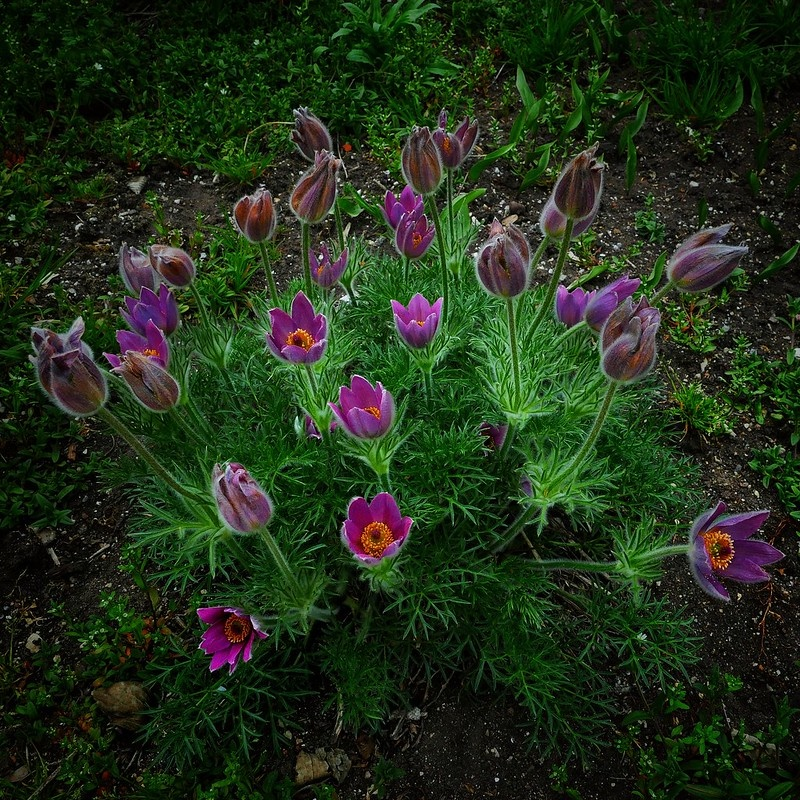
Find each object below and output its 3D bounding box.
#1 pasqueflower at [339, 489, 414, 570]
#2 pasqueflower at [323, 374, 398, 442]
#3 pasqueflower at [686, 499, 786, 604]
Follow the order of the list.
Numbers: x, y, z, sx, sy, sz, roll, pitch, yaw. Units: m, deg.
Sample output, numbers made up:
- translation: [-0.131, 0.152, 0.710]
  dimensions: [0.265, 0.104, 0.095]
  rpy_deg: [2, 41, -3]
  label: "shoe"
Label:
- translation: [-0.062, 0.401, 2.118]
  dimensions: [0.197, 0.268, 0.188]
  rpy_deg: [-28, 58, -17]
  label: "pasqueflower"
- translation: [-0.091, 0.035, 2.152]
  dimensions: [0.186, 0.232, 0.197]
  rpy_deg: [-3, 62, 17]
  label: "pasqueflower"
- translation: [1.060, 0.447, 2.255]
  dimensions: [0.147, 0.256, 0.314]
  rpy_deg: [3, 45, 52]
  label: "pasqueflower"
